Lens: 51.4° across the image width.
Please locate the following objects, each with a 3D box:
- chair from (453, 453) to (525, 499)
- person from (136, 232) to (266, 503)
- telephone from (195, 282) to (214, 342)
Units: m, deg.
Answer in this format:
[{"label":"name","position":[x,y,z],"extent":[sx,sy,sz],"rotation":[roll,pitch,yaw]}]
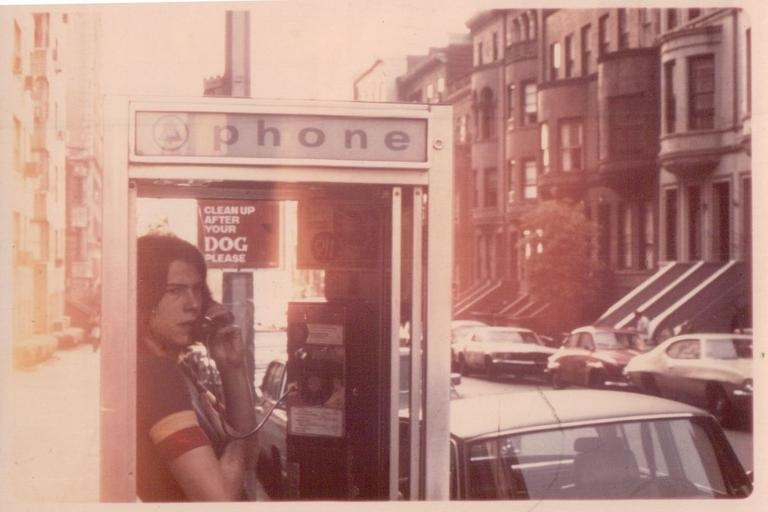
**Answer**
[{"label":"chair","position":[0.830,1.749,5.938],"extent":[0.586,0.301,0.404],"rotation":[-1,34,5]},{"label":"person","position":[-1.375,0.816,5.885],"extent":[0.921,2.205,0.500],"rotation":[9,32,3]},{"label":"telephone","position":[-1.299,0.424,5.750],"extent":[0.123,0.342,0.252],"rotation":[2,-3,-20]}]
